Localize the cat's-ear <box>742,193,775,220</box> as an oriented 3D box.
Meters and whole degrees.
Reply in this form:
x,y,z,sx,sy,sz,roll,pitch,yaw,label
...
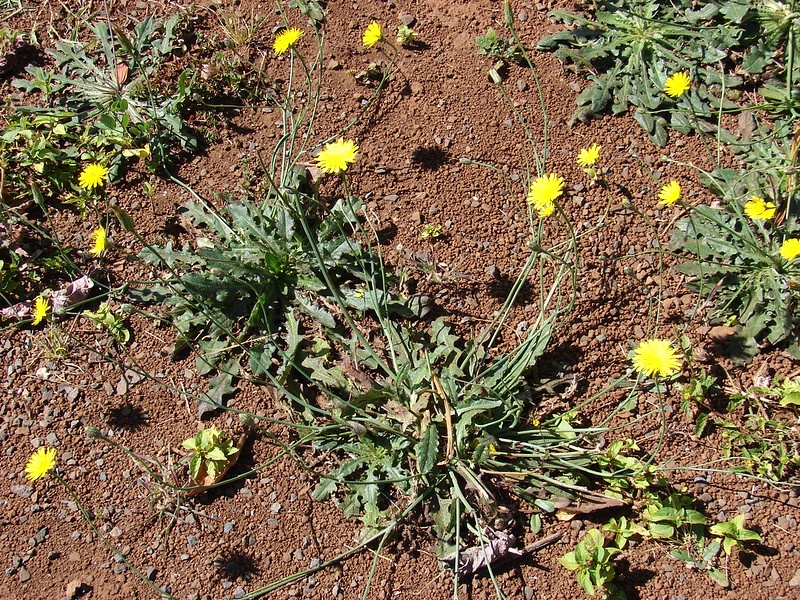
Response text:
x,y,z,sx,sy,sz,roll,pitch,yaw,label
1.441,-0.380,2.687,0.125,0.058,0.130,4,64,-18,cat's-ear
